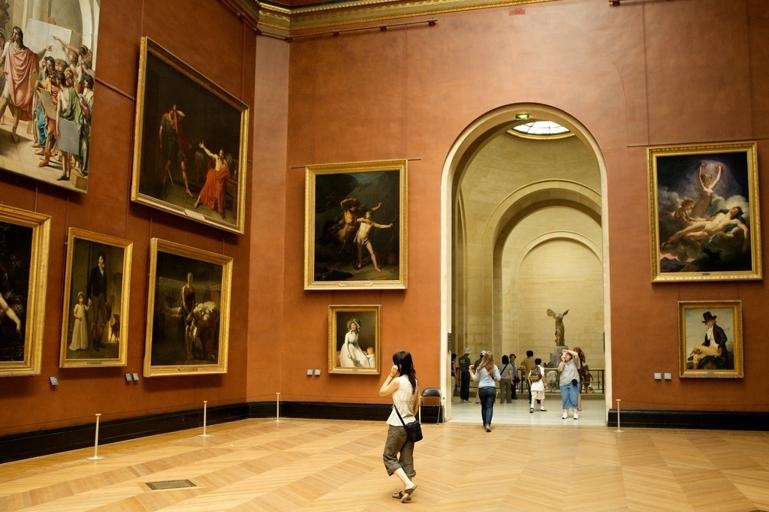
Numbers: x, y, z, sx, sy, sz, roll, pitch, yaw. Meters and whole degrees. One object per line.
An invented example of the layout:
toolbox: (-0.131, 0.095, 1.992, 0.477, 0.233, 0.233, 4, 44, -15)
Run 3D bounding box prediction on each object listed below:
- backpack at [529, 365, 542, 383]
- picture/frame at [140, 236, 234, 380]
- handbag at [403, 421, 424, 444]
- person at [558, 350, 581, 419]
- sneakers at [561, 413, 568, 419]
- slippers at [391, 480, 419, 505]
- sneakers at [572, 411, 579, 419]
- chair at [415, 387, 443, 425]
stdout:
backpack: (4.817, 3.876, 20.291, 0.445, 0.659, 0.624, 0, 0, 16)
picture/frame: (-4.912, 1.313, 15.831, 0.160, 3.342, 2.533, -1, -3, 30)
handbag: (0.443, 2.918, 10.549, 0.300, 0.397, 0.249, 0, -3, 2)
person: (5.256, 3.665, 18.143, 0.579, 1.891, 0.673, 0, -3, 5)
sneakers: (5.092, 4.564, 18.103, 0.194, 0.243, 0.597, -3, -13, 18)
slippers: (0.292, 3.888, 10.450, 0.183, 0.216, 0.541, 3, -7, -23)
sneakers: (5.435, 4.557, 18.148, 0.188, 0.209, 0.574, -3, -9, 13)
chair: (1.260, 4.094, 17.366, 0.829, 1.102, 0.834, -1, -12, 8)
